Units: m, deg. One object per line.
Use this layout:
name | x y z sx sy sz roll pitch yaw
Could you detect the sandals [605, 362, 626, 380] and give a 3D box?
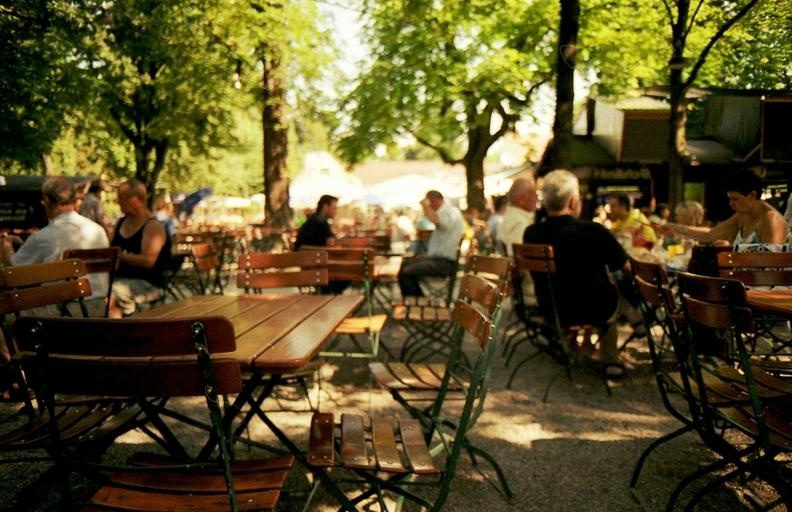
sandals | 2.890 1.539 9.566 0.293 0.094 0.287 -15 17 18
